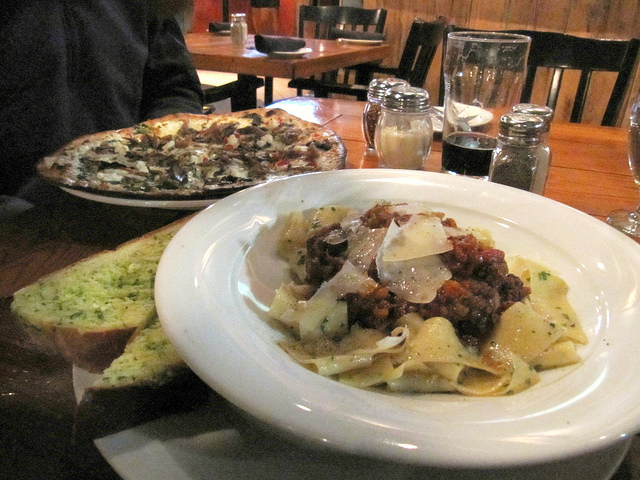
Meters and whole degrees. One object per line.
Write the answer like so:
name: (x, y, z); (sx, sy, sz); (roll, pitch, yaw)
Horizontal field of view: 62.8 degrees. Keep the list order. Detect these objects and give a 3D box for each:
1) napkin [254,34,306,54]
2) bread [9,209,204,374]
napkin: (-0.280, -1.367, 3.637); (0.203, 0.119, 0.379); (19, 31, 22)
bread: (-0.488, 0.042, 1.272); (0.625, 0.280, 0.474); (-9, 17, -31)
